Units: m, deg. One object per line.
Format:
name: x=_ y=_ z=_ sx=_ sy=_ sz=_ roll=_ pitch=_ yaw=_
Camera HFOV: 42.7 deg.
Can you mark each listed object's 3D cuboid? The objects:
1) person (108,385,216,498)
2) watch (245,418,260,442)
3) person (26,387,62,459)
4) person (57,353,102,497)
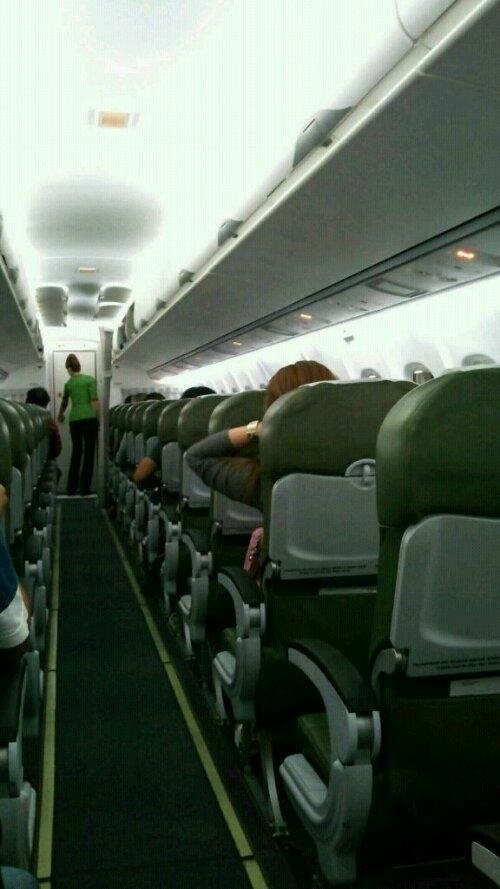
person: x=-0.689 y=-0.036 z=5.385 sx=0.622 sy=1.242 sz=0.870 roll=-2 pitch=7 yaw=-21
watch: x=0.017 y=-0.064 z=2.403 sx=0.039 sy=0.083 sz=0.063 roll=1 pitch=-9 yaw=14
person: x=-2.846 y=-0.303 z=8.950 sx=0.386 sy=1.423 sz=0.487 roll=1 pitch=41 yaw=-6
person: x=-3.058 y=-0.282 z=11.363 sx=0.776 sy=2.420 sz=0.466 roll=-9 pitch=-13 yaw=19
